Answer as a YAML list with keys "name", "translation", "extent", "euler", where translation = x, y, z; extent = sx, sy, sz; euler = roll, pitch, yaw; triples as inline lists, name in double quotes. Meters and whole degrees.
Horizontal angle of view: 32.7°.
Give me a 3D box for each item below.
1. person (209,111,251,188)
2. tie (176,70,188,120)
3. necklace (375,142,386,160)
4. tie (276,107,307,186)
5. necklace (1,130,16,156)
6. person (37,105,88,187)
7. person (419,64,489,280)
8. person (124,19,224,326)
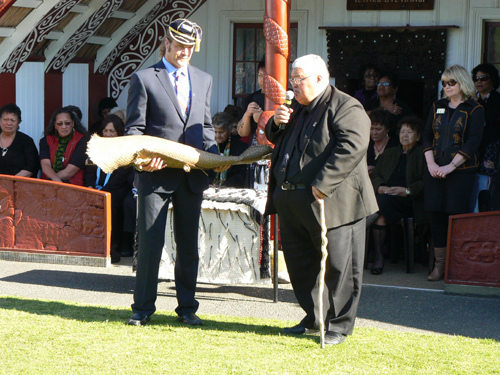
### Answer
- name: "person"
  translation: [-0.282, -0.434, 10.200]
  extent: [0.588, 0.803, 0.242]
  euler: [19, 0, 21]
- name: "tie"
  translation: [-0.616, -0.825, 7.652]
  extent: [0.062, 0.462, 0.047]
  euler: [-3, -4, -25]
- name: "necklace"
  translation: [1.600, -0.430, 10.503]
  extent: [0.097, 0.194, 0.058]
  euler: [3, 1, 15]
- name: "tie"
  translation: [0.367, -0.336, 7.425]
  extent: [0.103, 0.708, 0.074]
  euler: [20, -3, 35]
- name: "necklace"
  translation: [-3.094, -0.552, 10.840]
  extent: [0.175, 0.278, 0.137]
  euler: [3, 1, -16]
- name: "person"
  translation: [-2.371, -0.510, 10.776]
  extent: [0.595, 0.902, 0.402]
  euler: [3, 1, -14]
- name: "person"
  translation: [2.247, -0.151, 9.577]
  extent: [0.709, 2.383, 1.430]
  euler: [3, 1, 11]
- name: "person"
  translation: [-0.733, -0.115, 7.695]
  extent: [0.592, 2.563, 0.728]
  euler: [4, 1, 35]
